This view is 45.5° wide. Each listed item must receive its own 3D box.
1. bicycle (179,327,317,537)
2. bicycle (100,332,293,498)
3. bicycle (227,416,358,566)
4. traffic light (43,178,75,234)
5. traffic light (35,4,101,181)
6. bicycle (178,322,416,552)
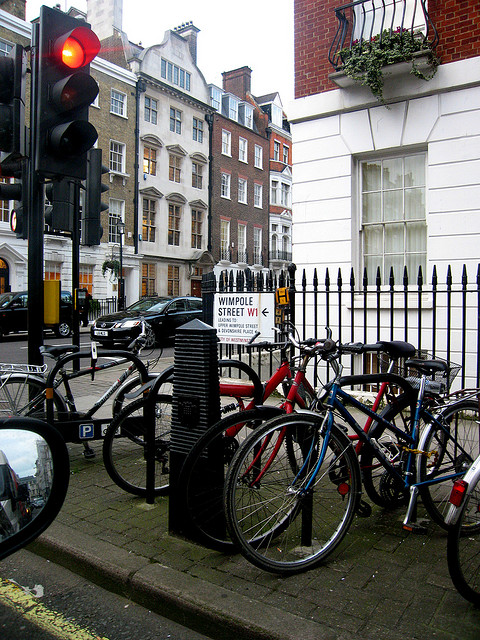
[{"bbox_3d":[0.085,0.588,3.398,0.601,0.820,1.243,-2,8,35],"label":"bicycle"},{"bbox_3d":[-0.221,0.651,4.332,1.731,1.128,0.837,-13,11,-37],"label":"bicycle"},{"bbox_3d":[0.239,0.866,3.050,0.794,0.766,0.560,-4,4,-19],"label":"bicycle"},{"bbox_3d":[-1.476,-1.057,4.767,0.281,0.262,0.518,-9,-33,-23],"label":"traffic light"},{"bbox_3d":[-1.321,-1.734,4.328,0.520,1.286,0.407,-3,4,-14],"label":"traffic light"},{"bbox_3d":[0.324,0.621,3.417,0.974,1.140,1.518,1,5,40],"label":"bicycle"}]
